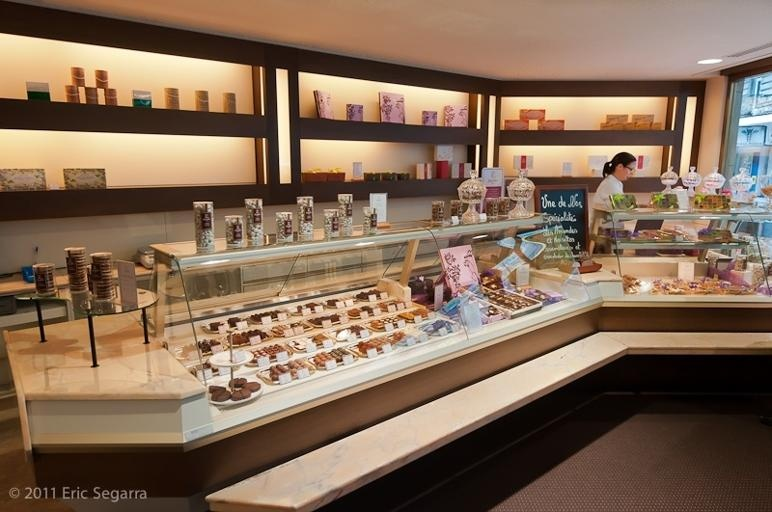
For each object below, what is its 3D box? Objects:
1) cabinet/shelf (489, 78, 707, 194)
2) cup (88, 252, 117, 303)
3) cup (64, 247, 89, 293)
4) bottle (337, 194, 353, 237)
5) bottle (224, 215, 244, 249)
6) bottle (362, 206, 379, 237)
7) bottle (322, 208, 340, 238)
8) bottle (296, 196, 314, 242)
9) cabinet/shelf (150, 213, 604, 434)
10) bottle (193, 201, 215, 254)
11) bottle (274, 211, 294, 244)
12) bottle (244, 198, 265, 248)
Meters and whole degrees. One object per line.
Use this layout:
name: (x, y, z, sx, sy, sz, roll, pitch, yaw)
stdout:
cabinet/shelf: (3.327, -1.838, 7.573, 3.031, 1.700, 0.577, -3, 12, -2)
cup: (-1.729, 0.124, 2.919, 0.200, 0.283, 0.123, -3, 12, -3)
cup: (-1.946, 0.082, 3.032, 0.117, 0.280, 0.179, -11, 14, -32)
bottle: (-0.277, -0.273, 3.272, 0.090, 0.269, 0.083, -3, 12, 1)
bottle: (-0.931, -0.145, 2.954, 0.103, 0.188, 0.078, -7, 13, -19)
bottle: (-0.113, -0.246, 3.375, 0.103, 0.178, 0.162, -3, 11, -2)
bottle: (-0.364, -0.216, 3.247, 0.095, 0.182, 0.163, -1, 11, 11)
bottle: (-0.536, -0.246, 3.182, 0.111, 0.275, 0.187, -5, 12, -11)
cabinet/shelf: (0.356, 0.322, 3.810, 3.836, 0.733, 1.096, -10, 26, -31)
bottle: (-1.098, -0.173, 2.906, 0.123, 0.288, 0.164, -8, 13, -21)
bottle: (-0.654, -0.180, 3.084, 0.108, 0.188, 0.109, -3, 12, 1)
bottle: (-0.832, -0.210, 3.035, 0.111, 0.284, 0.157, -6, 12, -15)
